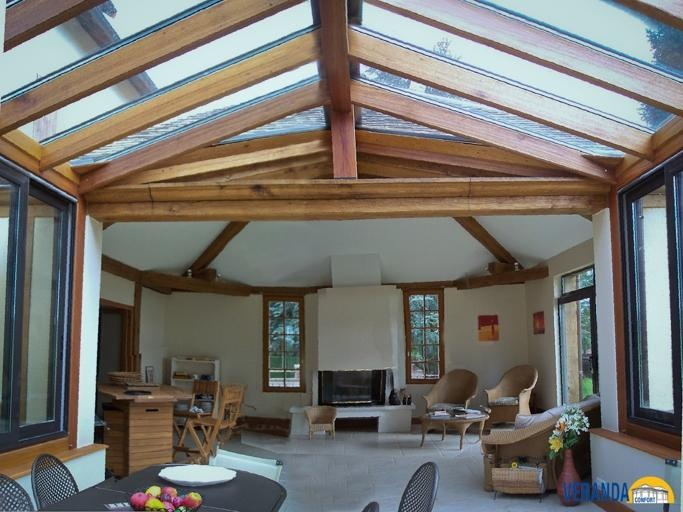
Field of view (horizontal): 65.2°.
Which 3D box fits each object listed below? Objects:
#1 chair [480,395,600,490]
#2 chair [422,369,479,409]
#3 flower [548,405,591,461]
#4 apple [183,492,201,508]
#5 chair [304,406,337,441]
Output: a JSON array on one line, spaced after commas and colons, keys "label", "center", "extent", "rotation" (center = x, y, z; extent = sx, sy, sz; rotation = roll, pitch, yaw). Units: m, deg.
[{"label": "chair", "center": [2.263, 2.191, 6.250], "extent": [1.161, 0.766, 1.942], "rotation": [-5, -9, 35]}, {"label": "chair", "center": [2.194, 2.551, 10.283], "extent": [0.845, 0.711, 0.966], "rotation": [-3, -11, 40]}, {"label": "flower", "center": [2.423, 1.905, 5.726], "extent": [0.367, 0.535, 0.245], "rotation": [-1, -2, -11]}, {"label": "apple", "center": [-0.819, 1.380, 3.027], "extent": [0.095, 0.071, 0.084], "rotation": [14, -16, 15]}, {"label": "chair", "center": [-0.375, 3.070, 9.821], "extent": [0.556, 0.530, 0.465], "rotation": [-1, -2, -1]}]
